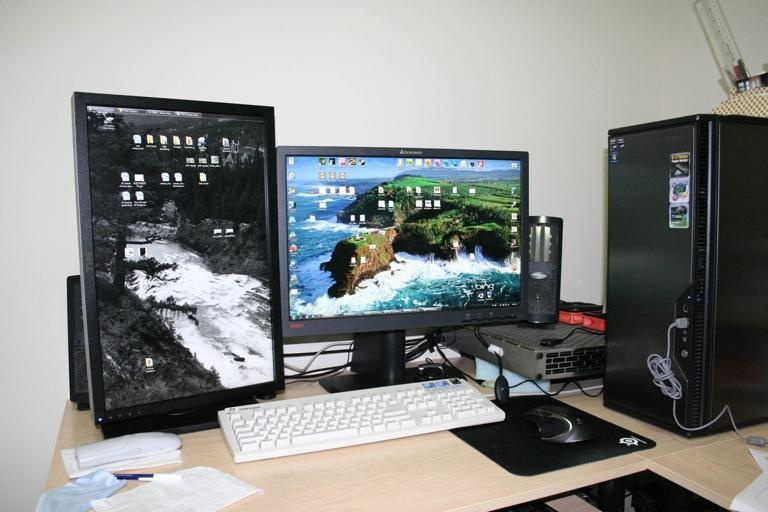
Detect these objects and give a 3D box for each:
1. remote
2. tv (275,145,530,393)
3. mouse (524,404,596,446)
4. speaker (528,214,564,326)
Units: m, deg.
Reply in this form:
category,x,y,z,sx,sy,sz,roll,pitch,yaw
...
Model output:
category,x,y,z,sx,sy,sz,roll,pitch,yaw
remote,-0.612,0.449,1.357,0.165,0.035,0.093,-2,1,-20
tv,0.064,0.022,1.686,0.835,0.666,0.240,-2,3,-19
mouse,0.481,0.439,1.544,0.169,0.049,0.210,-9,5,-20
speaker,0.521,0.050,1.824,0.106,0.353,0.071,-1,11,15
